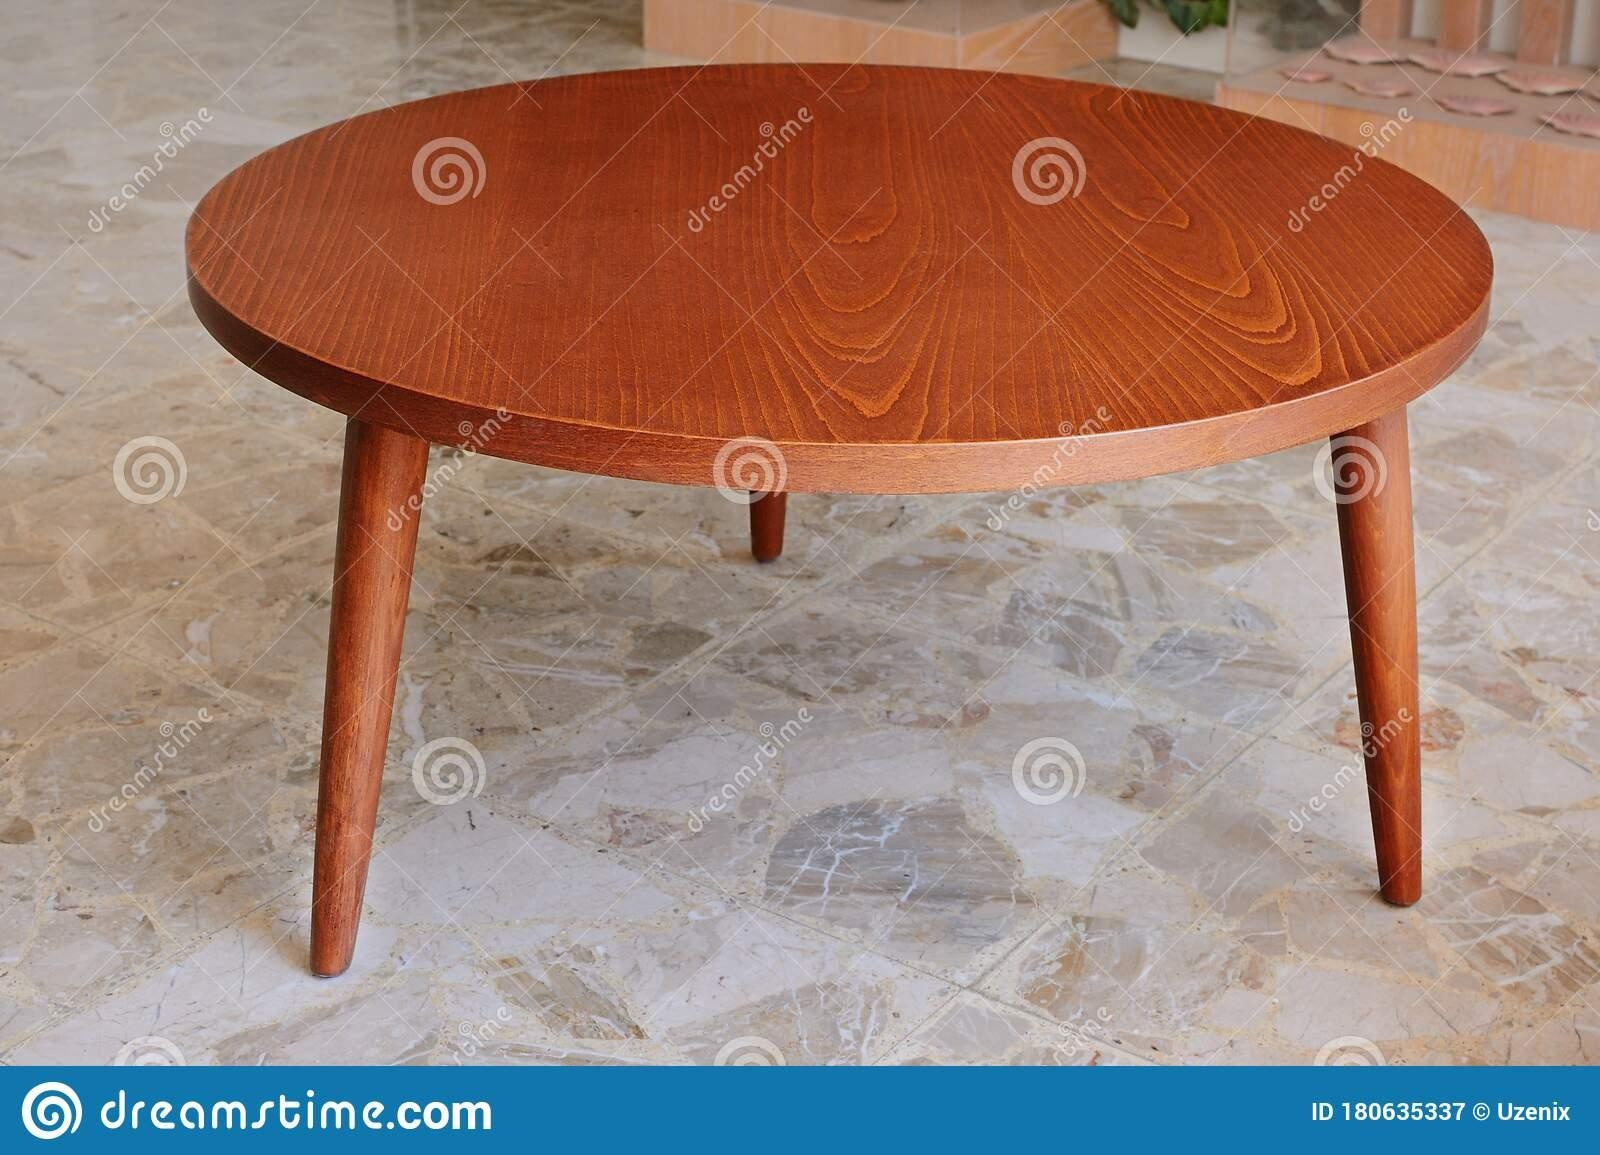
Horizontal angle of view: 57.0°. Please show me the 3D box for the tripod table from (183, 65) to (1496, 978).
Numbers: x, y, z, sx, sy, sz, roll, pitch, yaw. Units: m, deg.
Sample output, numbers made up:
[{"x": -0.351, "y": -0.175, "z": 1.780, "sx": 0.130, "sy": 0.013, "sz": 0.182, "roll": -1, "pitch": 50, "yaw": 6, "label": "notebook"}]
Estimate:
[{"x": 0.043, "y": -0.191, "z": 1.744, "sx": 1.204, "sy": 0.516, "sz": 1.158, "roll": -20, "pitch": 39, "yaw": -30, "label": "tripod table"}]
